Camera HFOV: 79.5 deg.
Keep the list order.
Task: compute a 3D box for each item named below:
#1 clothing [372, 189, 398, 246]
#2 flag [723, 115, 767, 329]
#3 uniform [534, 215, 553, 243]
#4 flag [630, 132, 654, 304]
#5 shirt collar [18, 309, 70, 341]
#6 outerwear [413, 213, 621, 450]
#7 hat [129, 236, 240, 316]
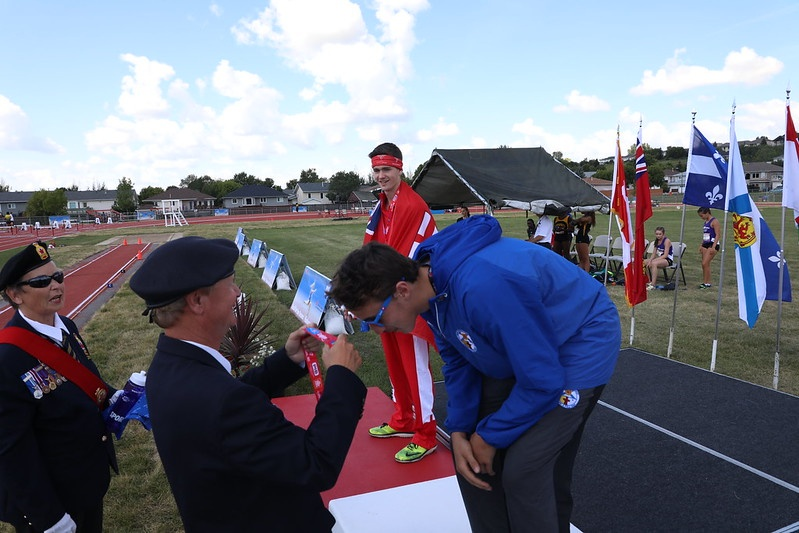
[{"bbox_3d":[-0.148,-0.482,5.209,0.312,0.769,0.108,-1,50,-7],"label":"clothing"},{"bbox_3d":[4.407,-0.417,6.108,0.437,2.291,0.275,1,7,32],"label":"flag"},{"bbox_3d":[3.240,-0.797,10.627,0.454,0.792,0.887,1,6,13],"label":"uniform"},{"bbox_3d":[3.767,-0.708,7.513,0.259,2.747,0.703,0,7,28],"label":"flag"},{"bbox_3d":[-2.751,0.499,3.744,0.251,0.175,0.217,29,11,8],"label":"shirt collar"},{"bbox_3d":[0.880,0.293,3.782,1.497,1.728,1.287,-14,-1,-10],"label":"outerwear"},{"bbox_3d":[-1.150,0.060,2.732,0.442,0.277,0.512,3,21,34],"label":"hat"}]
